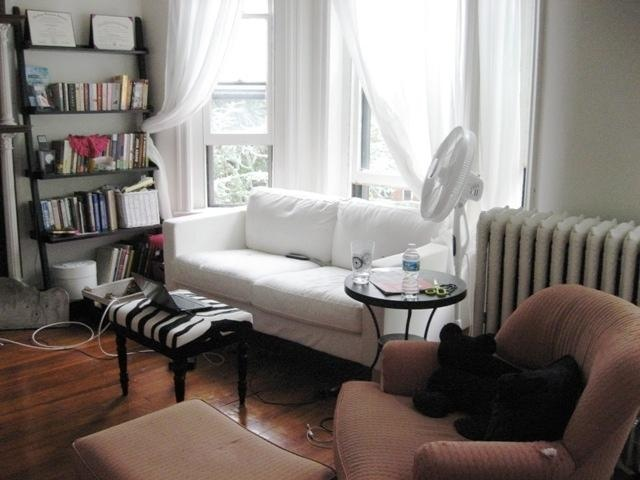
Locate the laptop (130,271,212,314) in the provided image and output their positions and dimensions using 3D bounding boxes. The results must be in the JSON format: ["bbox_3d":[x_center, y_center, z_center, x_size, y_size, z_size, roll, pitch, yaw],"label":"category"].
[{"bbox_3d":[-0.802,0.309,2.961,0.315,0.159,0.282,22,22,31],"label":"laptop"}]

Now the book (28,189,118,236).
[{"bbox_3d":[-1.863,-0.210,4.194,0.628,0.317,0.669,-1,1,-44],"label":"book"}]

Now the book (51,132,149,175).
[{"bbox_3d":[-1.767,-0.708,4.316,0.755,0.292,0.214,-13,20,-43],"label":"book"}]

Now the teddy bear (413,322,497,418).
[{"bbox_3d":[0.538,0.536,2.168,0.261,0.197,0.320,20,38,28],"label":"teddy bear"}]
